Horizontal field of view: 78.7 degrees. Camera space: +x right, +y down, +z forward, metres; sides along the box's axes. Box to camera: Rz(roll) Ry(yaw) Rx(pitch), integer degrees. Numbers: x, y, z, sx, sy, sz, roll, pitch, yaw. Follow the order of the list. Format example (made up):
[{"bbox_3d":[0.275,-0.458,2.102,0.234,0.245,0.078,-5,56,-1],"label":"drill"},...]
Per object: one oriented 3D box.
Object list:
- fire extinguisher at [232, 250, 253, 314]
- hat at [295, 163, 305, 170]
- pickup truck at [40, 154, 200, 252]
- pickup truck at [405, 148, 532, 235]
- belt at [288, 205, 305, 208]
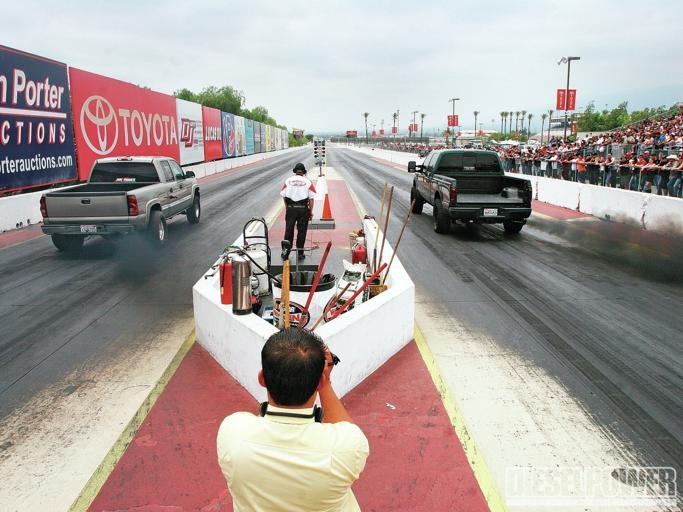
[{"bbox_3d":[-1.195,0.339,4.890,0.247,0.637,0.297,-4,15,-15],"label":"fire extinguisher"},{"bbox_3d":[-1.024,-2.204,10.261,0.210,0.094,0.245,3,12,1],"label":"hat"},{"bbox_3d":[-6.282,-1.839,12.593,2.920,2.159,5.372,1,17,1],"label":"pickup truck"},{"bbox_3d":[4.408,-2.271,14.090,2.761,2.597,4.190,-1,15,-4],"label":"pickup truck"},{"bbox_3d":[-1.060,-1.199,9.886,0.413,0.086,0.052,1,14,5],"label":"belt"}]
